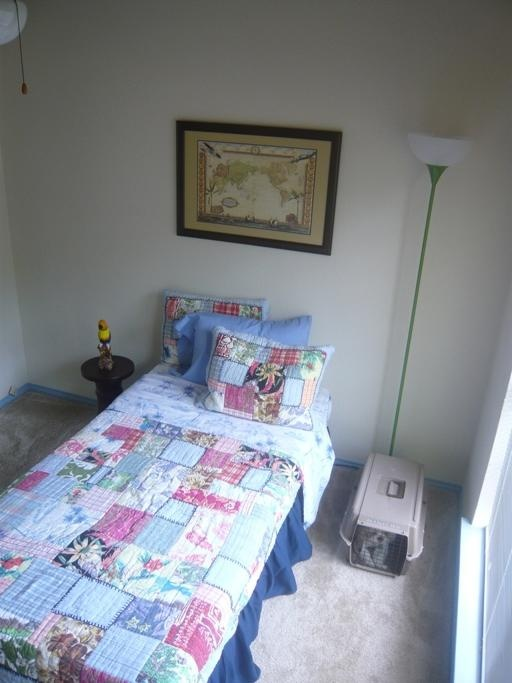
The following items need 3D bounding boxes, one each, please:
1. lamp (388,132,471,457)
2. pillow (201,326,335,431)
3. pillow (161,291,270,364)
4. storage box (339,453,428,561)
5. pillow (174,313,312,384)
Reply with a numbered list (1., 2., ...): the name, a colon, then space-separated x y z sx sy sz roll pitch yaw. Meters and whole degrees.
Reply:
1. lamp: 0.706 -0.078 2.457 0.216 1.633 0.560 10 19 16
2. pillow: 0.033 0.188 2.555 0.597 0.392 0.300 11 20 17
3. pillow: -0.200 -0.077 2.763 0.370 0.281 0.060 8 10 27
4. storage box: 0.640 0.811 2.541 0.365 0.236 0.593 9 29 19
5. pillow: 0.064 0.018 2.700 0.565 0.183 0.664 5 33 20
